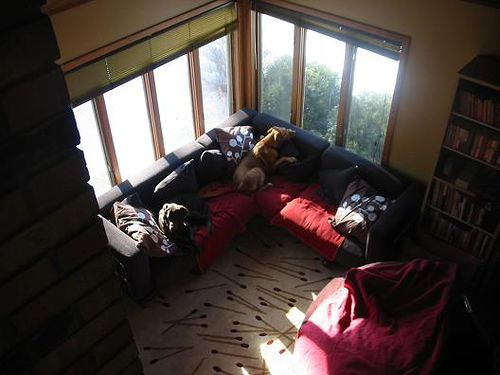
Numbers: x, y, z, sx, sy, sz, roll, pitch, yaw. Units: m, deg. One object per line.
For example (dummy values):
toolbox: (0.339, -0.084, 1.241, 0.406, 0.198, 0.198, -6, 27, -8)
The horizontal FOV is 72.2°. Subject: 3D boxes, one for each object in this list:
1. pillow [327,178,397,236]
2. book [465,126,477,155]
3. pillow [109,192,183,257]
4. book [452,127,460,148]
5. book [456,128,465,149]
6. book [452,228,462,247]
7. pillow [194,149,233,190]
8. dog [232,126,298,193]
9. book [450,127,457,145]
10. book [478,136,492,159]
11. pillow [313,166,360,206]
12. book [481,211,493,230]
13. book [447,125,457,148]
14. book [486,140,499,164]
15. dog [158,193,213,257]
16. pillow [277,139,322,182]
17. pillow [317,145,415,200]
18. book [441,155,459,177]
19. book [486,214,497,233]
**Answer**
pillow: (1.284, 0.235, 4.014, 0.652, 0.452, 0.527, -19, 33, -40)
book: (2.155, -0.456, 3.348, 0.055, 0.279, 0.039, 17, 27, 27)
pillow: (-1.198, 0.465, 3.893, 0.496, 0.524, 0.814, -20, 34, -41)
book: (2.056, -0.496, 3.413, 0.035, 0.156, 0.021, 15, 22, 29)
book: (2.082, -0.488, 3.388, 0.034, 0.140, 0.011, 24, 39, 31)
book: (2.295, 0.547, 3.803, 0.066, 0.273, 0.052, -7, 39, -14)
pillow: (-0.499, -0.257, 4.622, 0.486, 0.528, 0.230, -15, 22, -25)
dog: (0.217, -0.397, 4.765, 1.091, 0.518, 0.589, -40, 33, -14)
book: (2.028, -0.515, 3.426, 0.011, 0.129, 0.032, -2, 22, -16)
book: (2.246, -0.388, 3.301, 0.040, 0.231, 0.039, 20, 29, 33)
pillow: (1.055, -0.041, 4.267, 0.458, 0.513, 0.147, 26, 5, 43)
book: (2.412, 0.329, 3.491, 0.040, 0.161, 0.155, -40, 44, -19)
book: (2.020, -0.516, 3.429, 0.014, 0.149, 0.039, -12, 37, -22)
book: (2.299, -0.352, 3.254, 0.026, 0.166, 0.043, 12, 21, 7)
dog: (-0.812, 0.434, 4.123, 0.584, 0.309, 0.696, -39, 52, -25)
pillow: (0.637, -0.316, 4.608, 0.520, 0.187, 0.547, 18, 60, 18)
pillow: (1.457, -0.167, 4.263, 0.641, 0.242, 0.210, 38, 28, 17)
book: (2.084, -0.224, 3.591, 0.118, 0.219, 0.051, 22, 7, 41)
book: (2.445, 0.362, 3.478, 0.034, 0.204, 0.013, 23, 30, 38)
